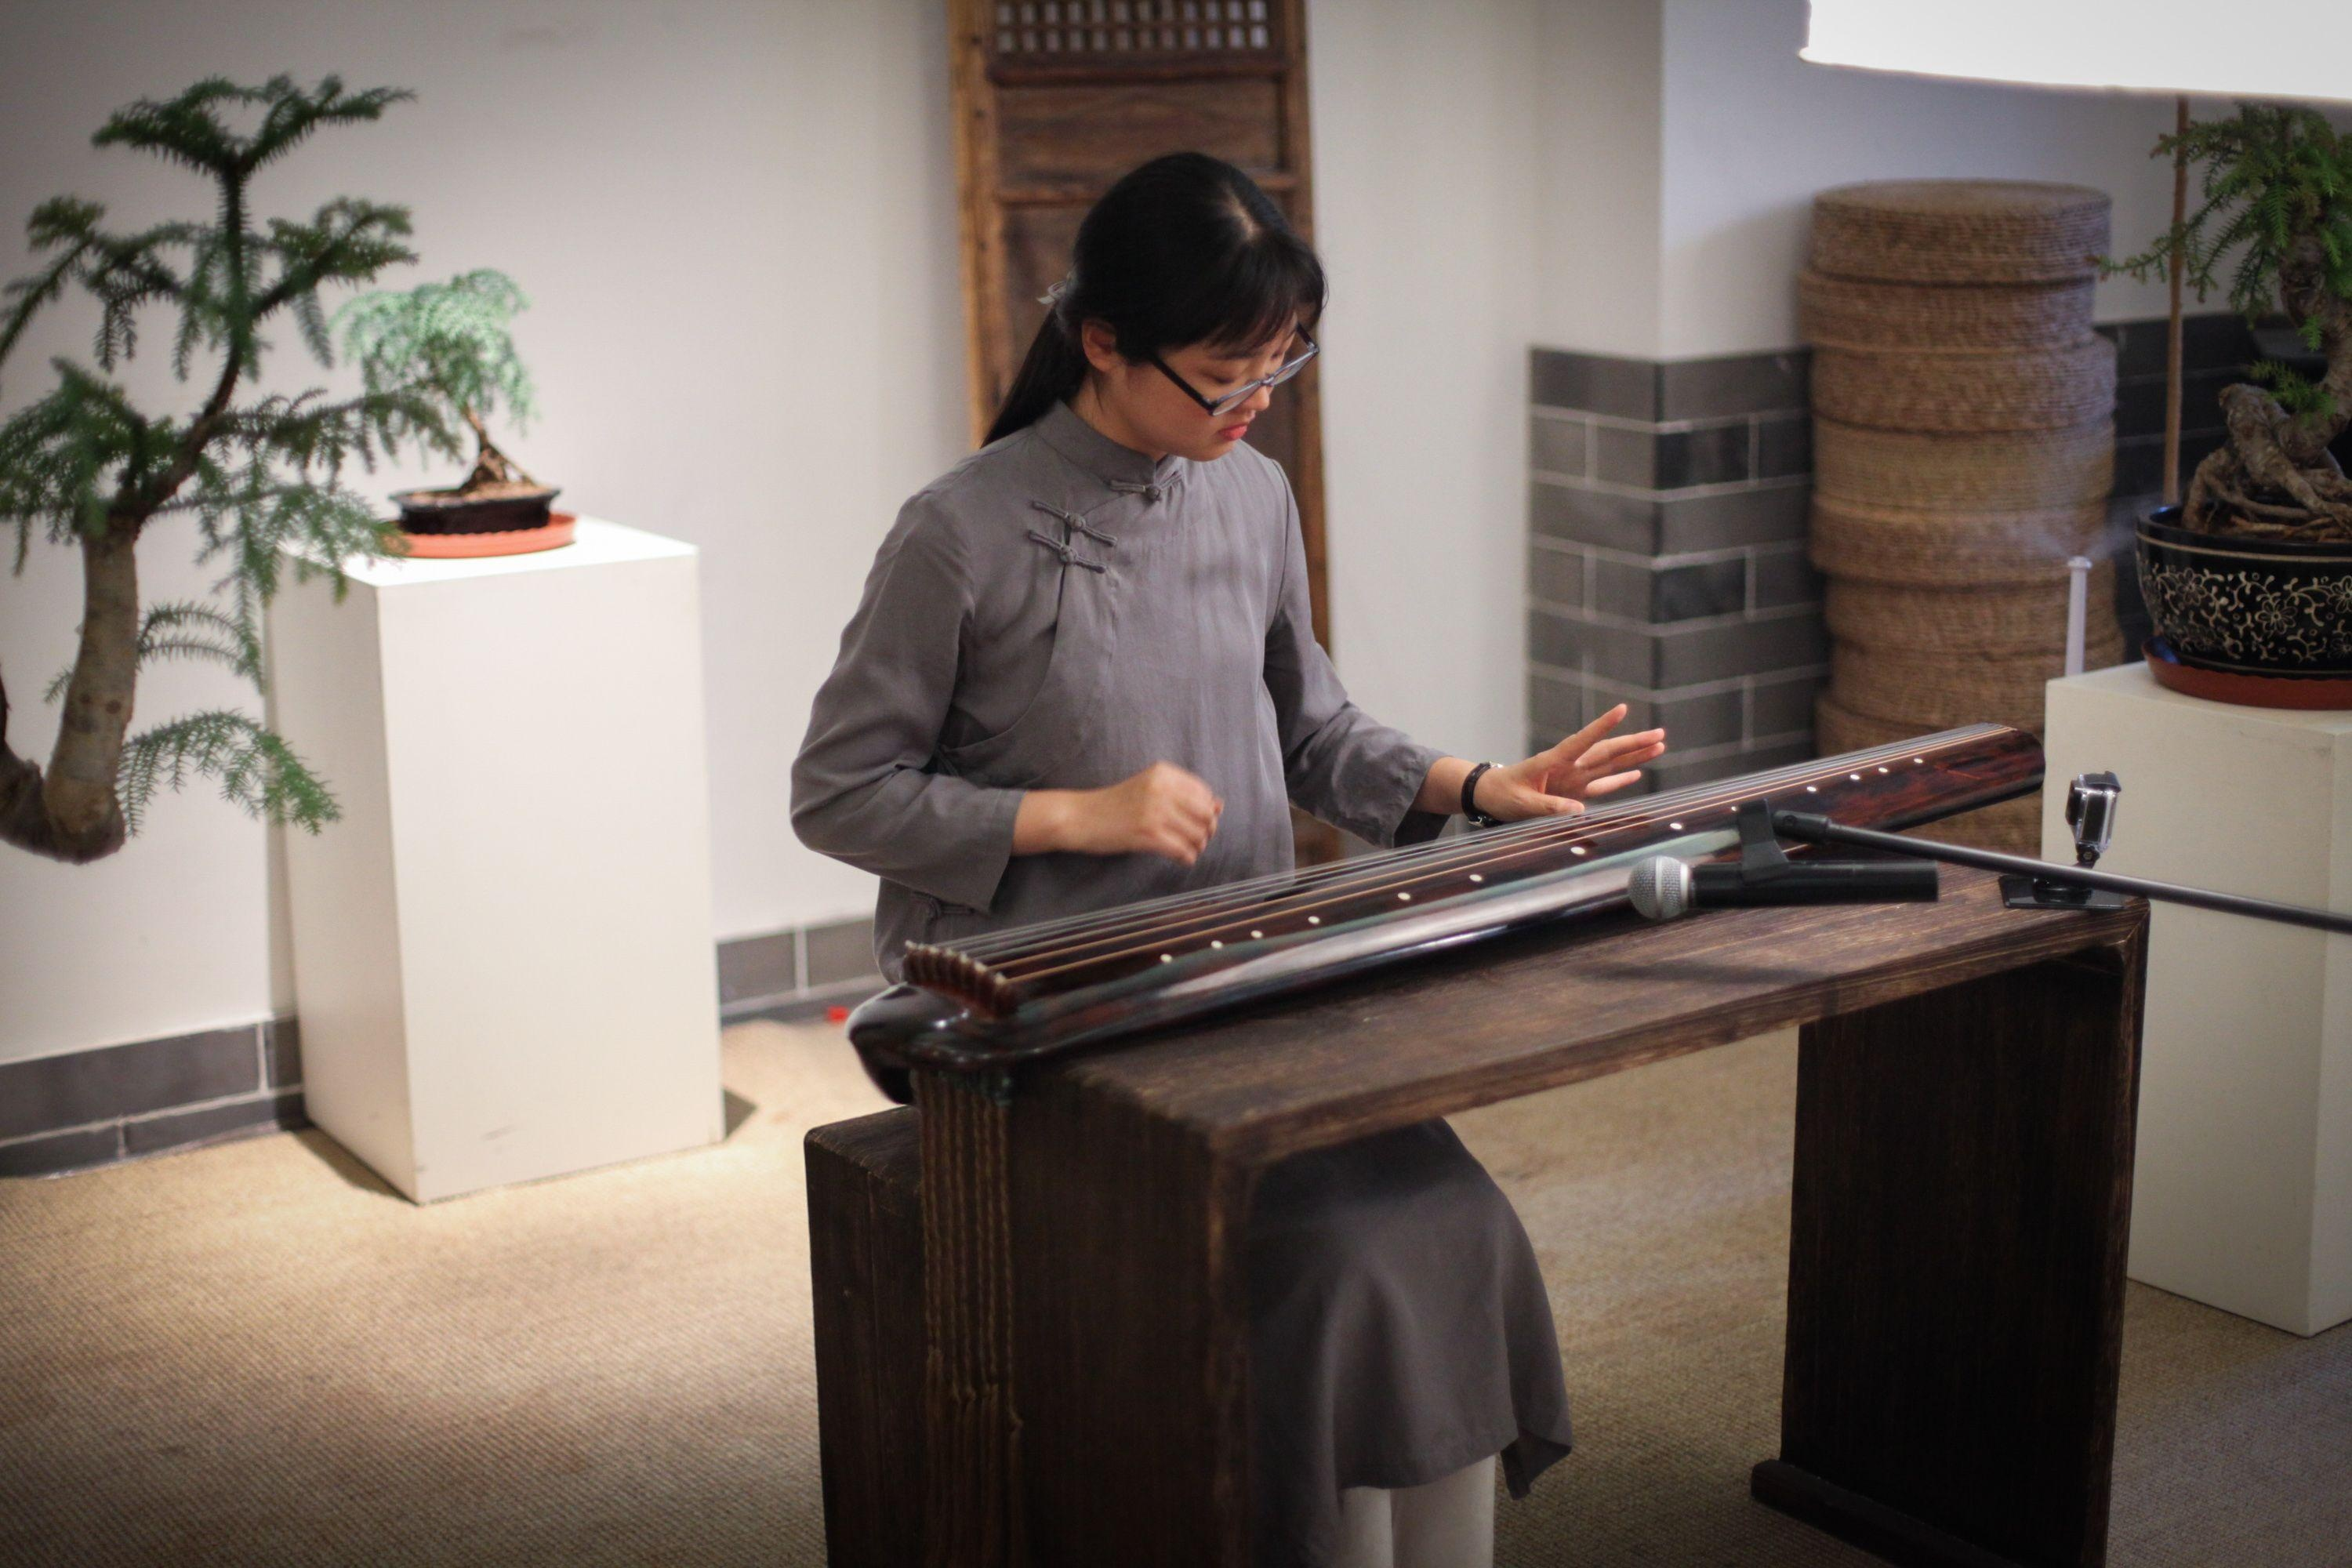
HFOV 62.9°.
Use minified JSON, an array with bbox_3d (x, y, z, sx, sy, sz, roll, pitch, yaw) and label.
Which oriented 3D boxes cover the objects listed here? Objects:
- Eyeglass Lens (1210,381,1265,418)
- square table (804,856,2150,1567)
[{"bbox_3d":[0.066,-0.378,1.894,0.068,0.032,0.028,-4,8,-12],"label":"Eyeglass Lens"},{"bbox_3d":[0.376,0.539,1.856,1.205,0.816,0.421,-6,9,-27],"label":"square table"}]
